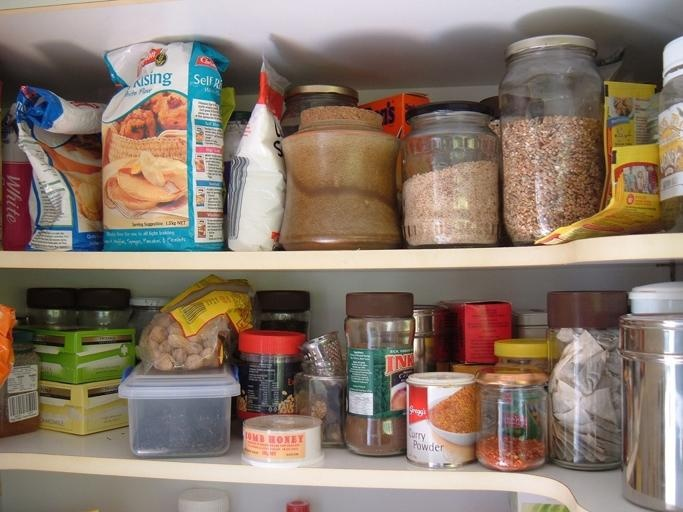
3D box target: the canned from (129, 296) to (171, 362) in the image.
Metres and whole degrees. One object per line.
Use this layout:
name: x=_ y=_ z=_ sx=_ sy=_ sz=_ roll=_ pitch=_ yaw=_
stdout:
canned: x=-0.447 y=0.166 z=1.410 sx=0.115 sy=0.144 sz=0.152 roll=4 pitch=-1 yaw=-30
